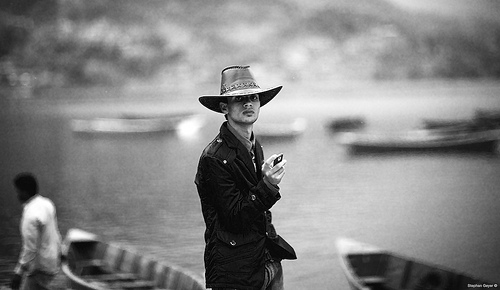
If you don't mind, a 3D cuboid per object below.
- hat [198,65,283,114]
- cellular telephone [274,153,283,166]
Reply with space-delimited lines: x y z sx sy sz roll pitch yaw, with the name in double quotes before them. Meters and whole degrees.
"hat" -0.080 -0.636 6.461 0.943 0.319 0.674 -8 -10 0
"cellular telephone" 0.280 0.148 6.174 0.024 0.118 0.149 39 45 17
